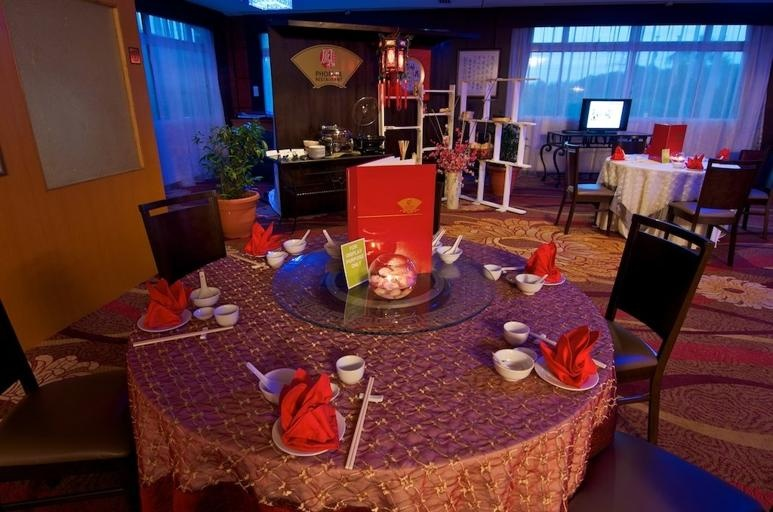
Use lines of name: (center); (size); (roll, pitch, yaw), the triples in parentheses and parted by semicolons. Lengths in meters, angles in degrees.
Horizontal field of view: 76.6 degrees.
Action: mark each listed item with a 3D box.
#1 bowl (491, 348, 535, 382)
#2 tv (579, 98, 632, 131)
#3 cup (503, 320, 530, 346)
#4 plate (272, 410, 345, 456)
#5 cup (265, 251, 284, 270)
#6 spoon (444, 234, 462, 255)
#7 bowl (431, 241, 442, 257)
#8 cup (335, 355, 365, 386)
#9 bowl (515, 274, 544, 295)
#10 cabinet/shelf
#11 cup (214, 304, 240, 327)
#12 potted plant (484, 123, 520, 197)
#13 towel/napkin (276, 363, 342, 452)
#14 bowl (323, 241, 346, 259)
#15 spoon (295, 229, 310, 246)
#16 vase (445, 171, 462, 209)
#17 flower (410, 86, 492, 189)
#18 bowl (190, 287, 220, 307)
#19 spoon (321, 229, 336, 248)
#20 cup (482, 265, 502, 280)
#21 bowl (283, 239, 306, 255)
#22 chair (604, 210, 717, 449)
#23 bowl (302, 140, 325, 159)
bowl: (0.560, 0.467, 2.152); (0.121, 0.088, 0.151); (23, 16, 40)
tv: (3.688, -2.359, 8.300); (0.863, 0.574, 0.201); (-3, 19, -13)
cup: (0.600, 0.354, 2.280); (0.113, 0.076, 0.100); (-1, 28, 0)
plate: (-0.314, 0.698, 1.954); (0.241, 0.034, 0.238); (-14, 20, 31)
cup: (-0.647, 0.025, 2.828); (0.108, 0.072, 0.084); (-6, 21, -21)
spoon: (0.406, -0.066, 2.984); (0.050, 0.168, 0.047); (42, -8, -39)
bowl: (0.305, -0.043, 2.934); (0.073, 0.027, 0.070); (-2, 26, 1)
cup: (-0.158, 0.494, 2.127); (0.118, 0.080, 0.111); (2, 32, -1)
bowl: (0.760, 0.141, 2.583); (0.120, 0.076, 0.117); (4, 13, -1)
cabinet/shelf: (-0.647, -0.743, 4.899); (1.023, 0.639, 0.531); (-14, 39, -23)
cup: (-0.781, 0.295, 2.393); (0.108, 0.066, 0.095); (4, 31, -2)
potted plant: (1.826, -1.355, 7.593); (0.541, 0.863, 0.518); (2, 19, 6)
towel/napkin: (-0.299, 0.597, 1.946); (0.277, 0.102, 0.325); (8, 43, 3)
bowl: (-0.314, -0.043, 2.900); (0.110, 0.061, 0.105); (2, 26, -1)
spoon: (-0.499, -0.111, 3.021); (0.022, 0.127, 0.083); (27, -3, -18)
vase: (0.917, -0.926, 6.766); (0.224, 0.530, 0.309); (4, 23, 6)
flower: (0.957, -1.860, 7.147); (1.007, 1.192, 1.801); (3, 22, 4)
bowl: (-0.920, 0.205, 2.482); (0.114, 0.053, 0.108); (6, 28, -3)
spoon: (-0.402, -0.120, 3.355); (0.102, 0.072, 0.321); (-14, 8, -1)
cup: (0.580, 0.082, 2.678); (0.066, 0.045, 0.105); (14, 22, 40)
bowl: (-0.566, -0.072, 2.967); (0.110, 0.065, 0.107); (2, 26, -1)
chair: (1.485, 0.469, 2.801); (0.430, 1.291, 0.654); (11, 25, 21)
bowl: (-0.894, -1.314, 6.042); (0.207, 0.158, 0.455); (-5, 22, -16)
